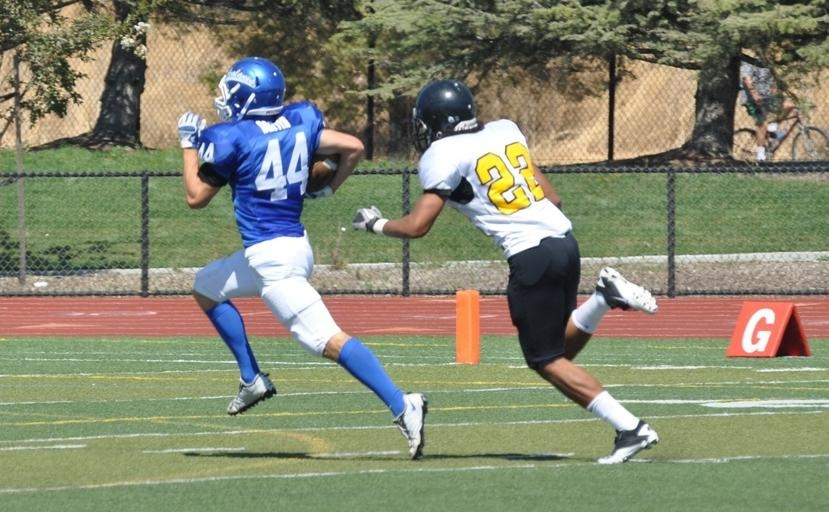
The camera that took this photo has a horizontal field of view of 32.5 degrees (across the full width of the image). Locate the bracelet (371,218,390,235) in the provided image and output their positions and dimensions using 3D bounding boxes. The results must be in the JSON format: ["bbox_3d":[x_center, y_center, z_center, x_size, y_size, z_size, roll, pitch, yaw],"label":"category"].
[{"bbox_3d":[-0.415,-0.353,17.220,0.205,0.153,0.204,11,-25,1],"label":"bracelet"}]

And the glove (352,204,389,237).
[{"bbox_3d":[-0.604,-0.436,17.358,0.603,0.238,0.223,4,3,43],"label":"glove"}]

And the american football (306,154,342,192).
[{"bbox_3d":[-1.146,-1.030,17.587,0.291,0.473,0.384,39,-4,7],"label":"american football"}]

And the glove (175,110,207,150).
[{"bbox_3d":[-2.714,-1.564,17.679,0.391,0.431,0.207,10,0,22],"label":"glove"}]

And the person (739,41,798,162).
[{"bbox_3d":[8.111,-3.600,32.800,1.369,0.983,3.107,-14,-39,24],"label":"person"}]
